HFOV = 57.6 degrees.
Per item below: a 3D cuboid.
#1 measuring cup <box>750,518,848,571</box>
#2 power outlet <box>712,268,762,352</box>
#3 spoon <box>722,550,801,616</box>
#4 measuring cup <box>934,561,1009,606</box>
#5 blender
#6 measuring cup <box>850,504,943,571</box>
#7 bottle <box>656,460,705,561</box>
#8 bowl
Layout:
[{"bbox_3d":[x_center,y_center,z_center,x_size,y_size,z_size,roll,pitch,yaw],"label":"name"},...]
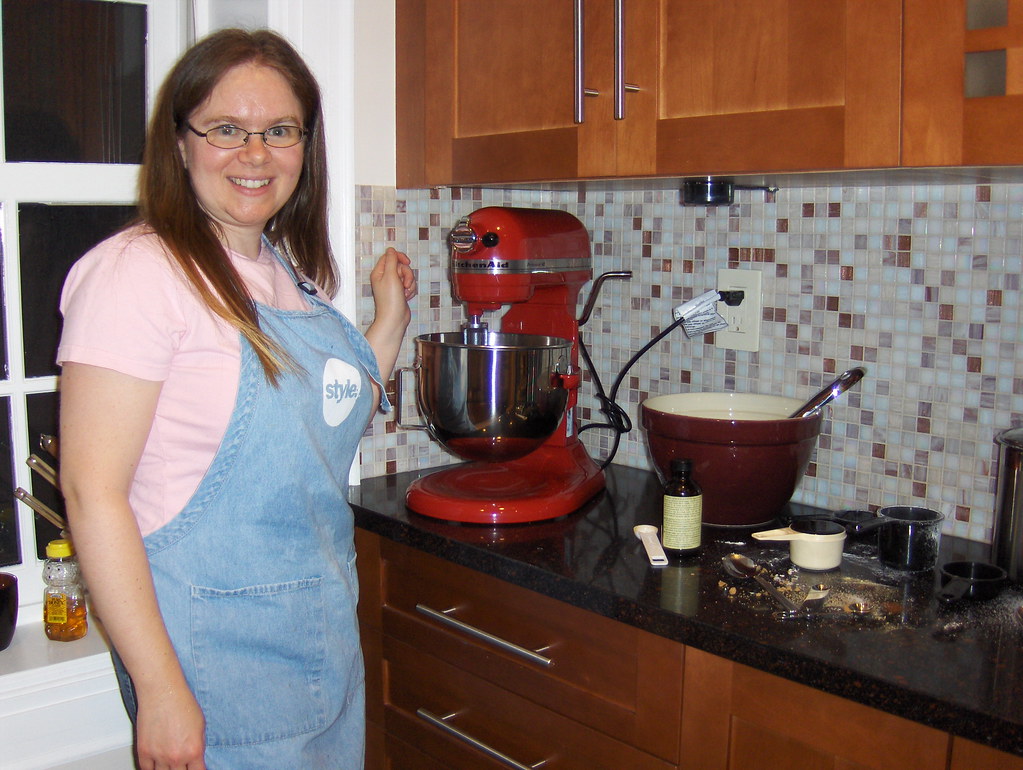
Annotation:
[{"bbox_3d":[0.487,0.277,1.602,0.155,0.069,0.089,-3,9,9],"label":"measuring cup"},{"bbox_3d":[0.482,-0.161,1.979,0.024,0.169,0.102,-8,11,-41],"label":"power outlet"},{"bbox_3d":[0.397,0.317,1.503,0.069,0.030,0.192,-2,9,-6],"label":"spoon"},{"bbox_3d":[0.729,0.313,1.474,0.099,0.037,0.126,4,10,27],"label":"measuring cup"},{"bbox_3d":[-0.010,-0.059,1.903,0.402,0.603,0.370,-1,8,1],"label":"blender"},{"bbox_3d":[0.675,0.259,1.589,0.096,0.094,0.122,5,11,34],"label":"measuring cup"},{"bbox_3d":[0.304,0.208,1.657,0.068,0.162,0.116,1,8,10],"label":"bottle"},{"bbox_3d":[0.424,0.104,1.891,0.404,0.232,0.440,0,5,0],"label":"bowl"}]
